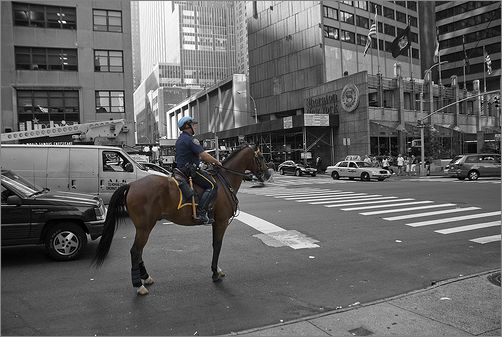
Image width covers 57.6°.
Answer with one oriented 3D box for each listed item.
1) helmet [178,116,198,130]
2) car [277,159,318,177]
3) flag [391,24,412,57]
[{"bbox_3d":[-1.903,-1.350,13.779,0.528,0.357,0.387,-10,11,-19],"label":"helmet"},{"bbox_3d":[4.813,0.011,46.962,1.405,1.493,4.987,-2,2,-26],"label":"car"},{"bbox_3d":[15.240,-12.818,46.261,1.635,3.629,7.610,0,2,17],"label":"flag"}]
